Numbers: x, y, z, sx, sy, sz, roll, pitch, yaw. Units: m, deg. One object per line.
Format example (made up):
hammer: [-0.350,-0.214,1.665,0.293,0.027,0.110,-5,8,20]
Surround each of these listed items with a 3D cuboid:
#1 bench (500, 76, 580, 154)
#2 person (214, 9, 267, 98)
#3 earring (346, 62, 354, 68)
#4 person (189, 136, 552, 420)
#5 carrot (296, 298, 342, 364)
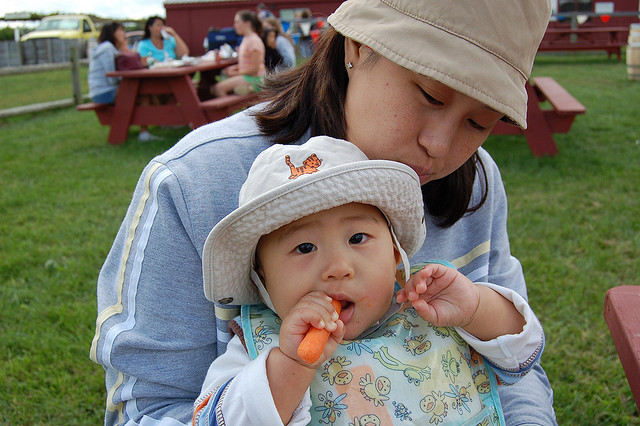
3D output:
bench: [2.048,-0.845,5.355,0.473,0.336,1.277,4,39,8]
person: [-1.299,-2.481,9.696,0.839,1.718,0.722,0,1,-26]
earring: [0.126,-0.602,2.372,0.024,0.026,0.006,5,14,35]
person: [0.148,0.282,2.348,0.741,1.104,0.611,-11,-17,-16]
carrot: [-0.009,0.484,2.216,0.085,0.307,0.085,29,-25,-11]
